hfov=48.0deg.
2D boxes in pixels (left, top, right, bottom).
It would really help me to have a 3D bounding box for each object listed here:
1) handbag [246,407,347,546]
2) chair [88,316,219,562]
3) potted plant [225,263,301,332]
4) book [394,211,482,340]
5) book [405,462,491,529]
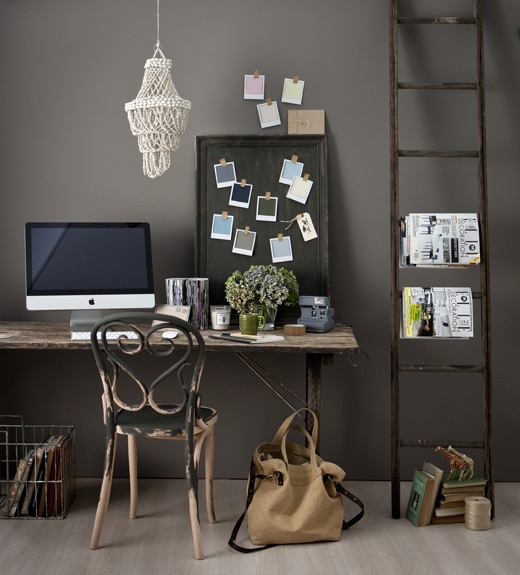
[{"bbox_3d":[0.151,0.742,2.281,0.294,0.536,0.239,3,-20,-5],"label":"handbag"},{"bbox_3d":[-0.406,0.487,2.349,0.523,0.907,0.967,-1,5,-12],"label":"chair"},{"bbox_3d":[0.012,0.018,2.517,0.237,0.300,0.280,-2,-1,31],"label":"potted plant"},{"bbox_3d":[0.748,-0.041,2.447,0.326,0.542,0.227,1,5,16],"label":"book"},{"bbox_3d":[0.735,0.835,2.384,0.212,0.188,0.242,-1,3,-3],"label":"book"}]
